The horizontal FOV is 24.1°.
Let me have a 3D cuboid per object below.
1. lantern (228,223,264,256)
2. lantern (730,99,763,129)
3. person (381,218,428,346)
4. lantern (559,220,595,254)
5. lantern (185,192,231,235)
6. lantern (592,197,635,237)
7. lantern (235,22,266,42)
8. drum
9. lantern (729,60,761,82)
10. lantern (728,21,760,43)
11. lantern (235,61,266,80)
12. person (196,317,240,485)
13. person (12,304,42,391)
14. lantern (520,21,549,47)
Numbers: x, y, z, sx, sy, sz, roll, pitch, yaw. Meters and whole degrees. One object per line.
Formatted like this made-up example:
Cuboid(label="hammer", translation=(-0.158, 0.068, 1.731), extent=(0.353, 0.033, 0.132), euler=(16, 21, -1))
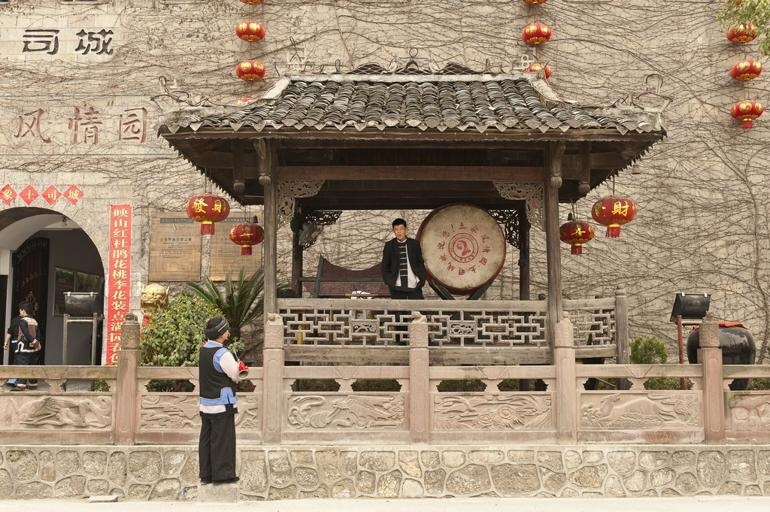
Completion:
Cuboid(label="lantern", translation=(-2.524, -0.327, 33.201), extent=(0.676, 0.604, 0.678), euler=(-6, -6, 33))
Cuboid(label="lantern", translation=(7.021, -2.808, 35.028), extent=(0.630, 0.555, 0.576), euler=(-2, -3, 7))
Cuboid(label="person", translation=(0.341, 0.346, 31.568), extent=(0.931, 2.024, 0.693), euler=(-1, 2, 6))
Cuboid(label="lantern", translation=(3.480, -0.354, 32.834), extent=(0.725, 0.602, 0.642), euler=(-2, 2, 5))
Cuboid(label="lantern", translation=(-3.168, -0.766, 32.096), extent=(0.721, 0.718, 0.829), euler=(-1, 5, -9))
Cuboid(label="lantern", translation=(4.126, -0.705, 32.065), extent=(0.820, 0.670, 0.768), euler=(-3, -2, 14))
Cuboid(label="lantern", translation=(-2.620, -4.448, 35.239), extent=(0.562, 0.321, 0.405), euler=(1, -4, -4))
Cuboid(label="drum", translation=(1.386, -0.089, 32.206), extent=(1.453, 1.619, 1.956), euler=(1, -7, -4))
Cuboid(label="lantern", translation=(7.018, -3.690, 34.998), extent=(0.584, 0.419, 0.480), euler=(0, -4, 5))
Cuboid(label="lantern", translation=(6.968, -4.381, 34.866), extent=(0.441, 0.369, 0.404), euler=(1, -5, -6))
Cuboid(label="lantern", translation=(-2.633, -3.641, 35.040), extent=(0.442, 0.217, 0.434), euler=(-3, -6, 20))
Cuboid(label="person", translation=(-2.713, 2.389, 29.606), extent=(0.696, 2.801, 0.403), euler=(2, -5, -6))
Cuboid(label="person", translation=(-6.781, 1.699, 34.081), extent=(0.491, 1.635, 1.371), euler=(2, -5, -11))
Cuboid(label="lantern", translation=(2.956, -4.400, 35.193), extent=(0.545, 0.457, 0.450), euler=(1, -4, 4))
